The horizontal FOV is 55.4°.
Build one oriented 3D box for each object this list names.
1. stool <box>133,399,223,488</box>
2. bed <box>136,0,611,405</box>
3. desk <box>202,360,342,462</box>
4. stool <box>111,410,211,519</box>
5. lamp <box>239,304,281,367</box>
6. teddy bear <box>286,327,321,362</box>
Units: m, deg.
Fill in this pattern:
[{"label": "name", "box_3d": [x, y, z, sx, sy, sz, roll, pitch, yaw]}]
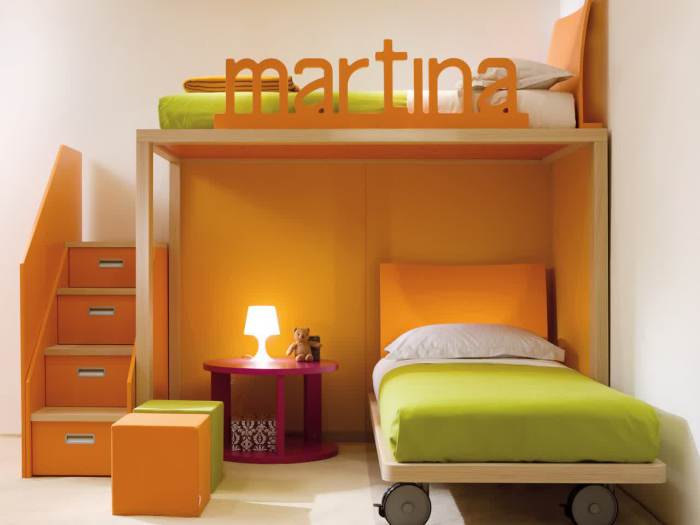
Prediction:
[{"label": "stool", "box_3d": [-0.981, 1.032, 4.001, 0.473, 0.482, 0.480, 0, -3, 1]}, {"label": "bed", "box_3d": [0.123, -0.278, 4.495, 2.859, 2.864, 1.080, 0, 1, 0]}, {"label": "desk", "box_3d": [-0.435, 1.026, 4.641, 0.780, 0.541, 0.740, 1, -6, 7]}, {"label": "stool", "box_3d": [-1.055, 1.106, 3.803, 0.502, 0.509, 0.486, 0, -1, 1]}, {"label": "lamp", "box_3d": [-0.608, 0.491, 4.529, 0.320, 0.495, 0.333, 1, -1, -24]}, {"label": "teddy bear", "box_3d": [-0.313, 0.560, 4.555, 0.245, 0.230, 0.159, 2, -7, -26]}]
